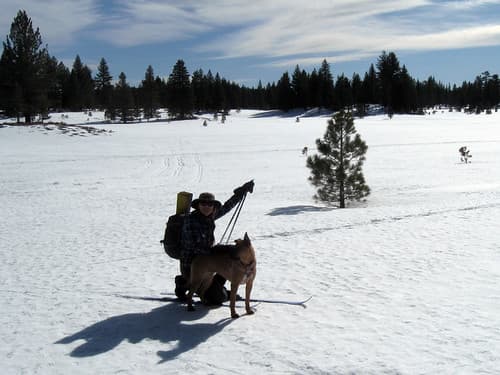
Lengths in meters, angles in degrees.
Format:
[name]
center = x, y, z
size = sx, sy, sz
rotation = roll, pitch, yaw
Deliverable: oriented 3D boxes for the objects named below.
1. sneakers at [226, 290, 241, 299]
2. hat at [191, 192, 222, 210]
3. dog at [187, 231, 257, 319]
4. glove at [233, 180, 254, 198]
[sneakers]
center = -0.388, 2.561, 12.134
size = 0.483, 0.216, 0.168
rotation = 0, 4, -2
[hat]
center = -0.984, 0.341, 11.563
size = 0.684, 0.465, 0.429
rotation = -3, 9, -11
[dog]
center = -0.623, 1.911, 11.309
size = 2.161, 1.833, 0.954
rotation = -1, 2, 39
[glove]
center = -0.110, 0.068, 12.094
size = 0.488, 0.215, 0.317
rotation = -29, 13, 7
